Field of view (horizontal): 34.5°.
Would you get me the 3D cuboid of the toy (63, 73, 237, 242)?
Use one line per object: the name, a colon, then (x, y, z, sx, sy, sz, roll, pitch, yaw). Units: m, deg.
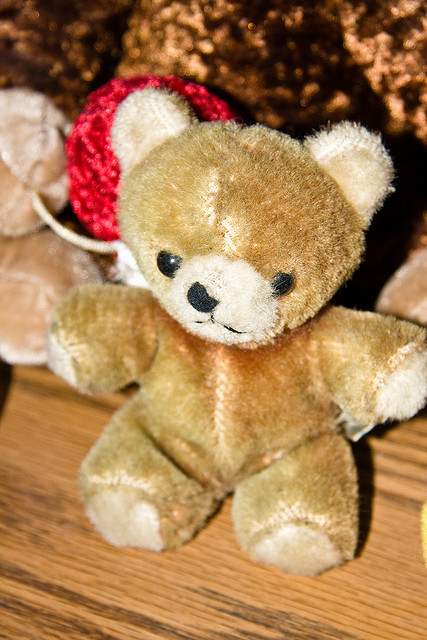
toy: (-0.082, -0.186, 0.842, 0.199, 0.123, 0.195, 2, 99, -2)
